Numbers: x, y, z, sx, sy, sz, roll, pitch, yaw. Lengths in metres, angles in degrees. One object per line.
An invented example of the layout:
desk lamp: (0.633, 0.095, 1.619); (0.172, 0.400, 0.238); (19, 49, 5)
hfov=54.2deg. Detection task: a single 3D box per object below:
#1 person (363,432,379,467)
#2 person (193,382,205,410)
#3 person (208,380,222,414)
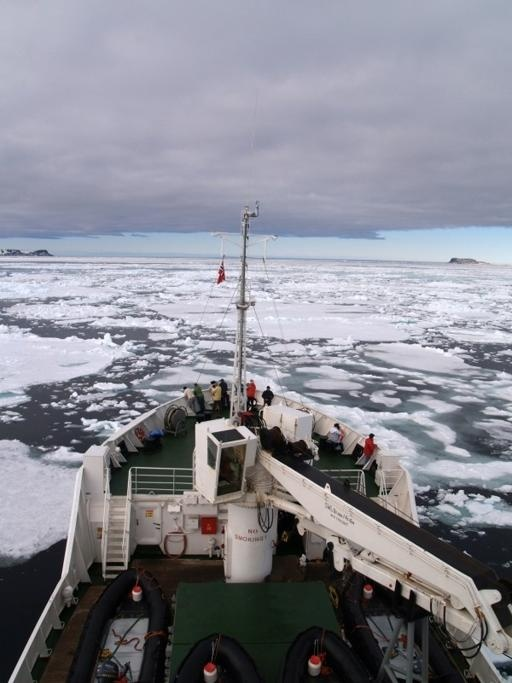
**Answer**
person: (2.785, 2.627, 12.274); (0.354, 0.895, 0.608); (5, 11, 13)
person: (-1.654, 1.511, 14.393); (0.335, 0.763, 0.699); (1, 11, -7)
person: (-1.206, 1.648, 14.906); (0.388, 0.921, 0.933); (1, 11, -4)
